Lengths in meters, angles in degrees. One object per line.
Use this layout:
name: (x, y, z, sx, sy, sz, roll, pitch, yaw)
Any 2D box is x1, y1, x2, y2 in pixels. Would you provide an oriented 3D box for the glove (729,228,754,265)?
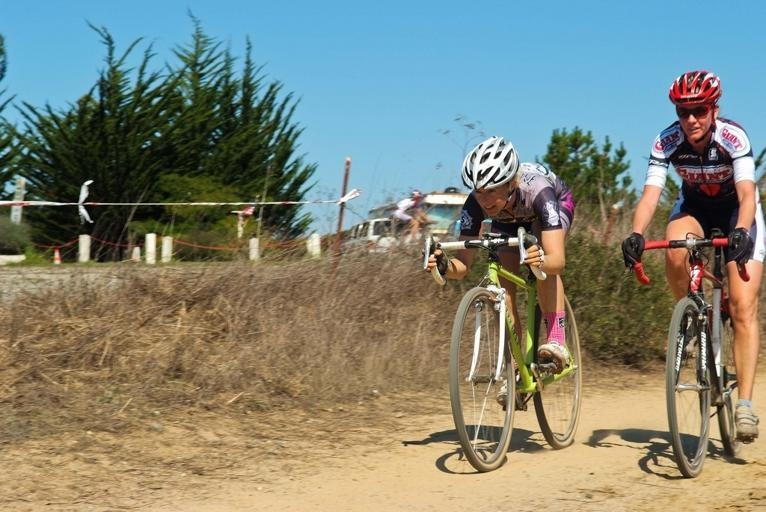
glove: (3.108, -0.085, 8.532, 0.169, 0.273, 0.254, 13, -24, -34)

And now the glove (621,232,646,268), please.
glove: (2.237, -0.052, 8.758, 0.279, 0.254, 0.100, 2, -8, 22)

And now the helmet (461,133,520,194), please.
helmet: (0.971, -0.835, 8.882, 0.488, 0.484, 0.364, 0, -1, 3)

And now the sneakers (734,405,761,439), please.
sneakers: (3.204, 1.487, 8.664, 0.192, 0.327, 0.135, -1, -1, 11)

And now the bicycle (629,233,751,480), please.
bicycle: (2.825, 0.861, 8.903, 0.721, 2.184, 0.891, -1, -1, 18)

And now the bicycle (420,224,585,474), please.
bicycle: (1.189, 0.858, 9.304, 0.905, 2.220, 1.670, -1, -1, 38)

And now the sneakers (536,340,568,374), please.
sneakers: (1.617, 0.945, 9.353, 0.230, 0.166, 0.367, -14, 8, -21)
